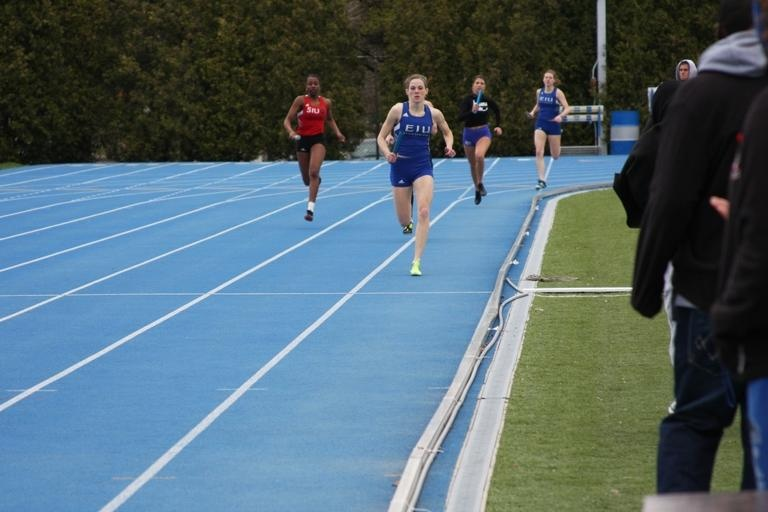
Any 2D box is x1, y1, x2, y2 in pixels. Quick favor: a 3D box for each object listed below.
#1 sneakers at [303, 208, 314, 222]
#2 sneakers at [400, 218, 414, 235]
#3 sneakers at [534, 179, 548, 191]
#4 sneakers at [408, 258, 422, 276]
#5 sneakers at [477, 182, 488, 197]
[{"bbox_3d":[-1.114,-0.610,15.128,0.130,0.102,0.288,-47,1,-3],"label":"sneakers"},{"bbox_3d":[0.321,-0.355,12.506,0.086,0.111,0.240,2,-35,-4],"label":"sneakers"},{"bbox_3d":[2.930,-1.325,18.496,0.151,0.216,0.453,-4,-7,13],"label":"sneakers"},{"bbox_3d":[0.373,0.140,11.570,0.187,0.206,0.474,0,-1,2],"label":"sneakers"},{"bbox_3d":[1.754,-1.158,17.436,0.141,0.190,0.427,-17,-3,-2],"label":"sneakers"}]
